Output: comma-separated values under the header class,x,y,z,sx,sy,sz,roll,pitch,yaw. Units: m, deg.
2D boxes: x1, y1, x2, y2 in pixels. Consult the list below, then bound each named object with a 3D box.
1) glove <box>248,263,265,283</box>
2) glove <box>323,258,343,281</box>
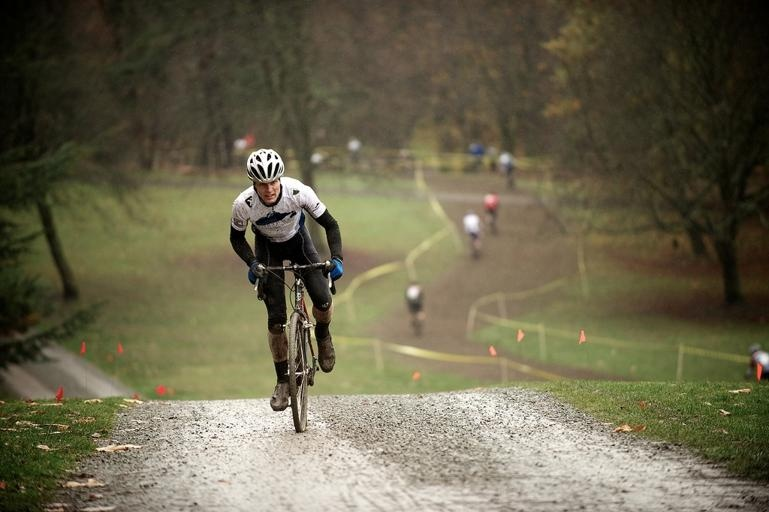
class,x,y,z,sx,sy,sz,roll,pitch,yaw
glove,-2.050,0.257,17.135,0.123,0.332,0.242,28,0,-25
glove,-0.816,0.169,17.398,0.341,0.262,0.342,9,-28,-15
